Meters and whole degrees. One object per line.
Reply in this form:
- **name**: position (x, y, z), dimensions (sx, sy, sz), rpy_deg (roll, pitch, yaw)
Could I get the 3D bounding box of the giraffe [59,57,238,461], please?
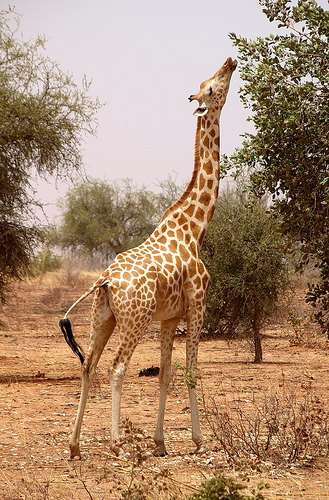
- **giraffe**: position (-0.059, -0.047, 6.238), dimensions (1.728, 4.009, 0.665), rpy_deg (4, -10, -35)
